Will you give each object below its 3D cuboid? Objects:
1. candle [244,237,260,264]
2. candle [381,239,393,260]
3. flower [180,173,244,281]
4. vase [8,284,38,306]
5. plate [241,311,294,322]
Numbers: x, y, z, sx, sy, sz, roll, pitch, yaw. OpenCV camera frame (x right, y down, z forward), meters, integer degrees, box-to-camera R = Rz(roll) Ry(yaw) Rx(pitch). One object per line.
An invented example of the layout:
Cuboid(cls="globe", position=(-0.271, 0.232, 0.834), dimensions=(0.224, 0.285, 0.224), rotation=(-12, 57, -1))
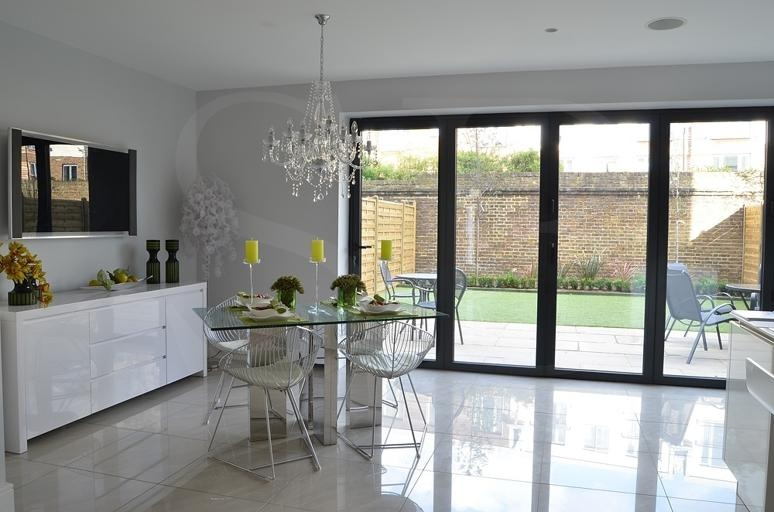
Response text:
Cuboid(cls="candle", position=(-1.153, -0.033, 4.632), dimensions=(0.093, 0.184, 0.129), rotation=(-1, 13, -4))
Cuboid(cls="candle", position=(-0.011, -0.050, 4.792), dimensions=(0.086, 0.172, 0.105), rotation=(2, 13, 9))
Cuboid(cls="flower", position=(-1.975, -0.335, 6.151), dimensions=(0.672, 1.143, 0.414), rotation=(-1, 5, -8))
Cuboid(cls="vase", position=(-2.907, 0.300, 4.358), dimensions=(0.183, 0.169, 0.177), rotation=(2, -2, -34))
Cuboid(cls="plate", position=(-0.929, 0.443, 4.232), dimensions=(0.422, 0.080, 0.192), rotation=(1, 13, 1))
